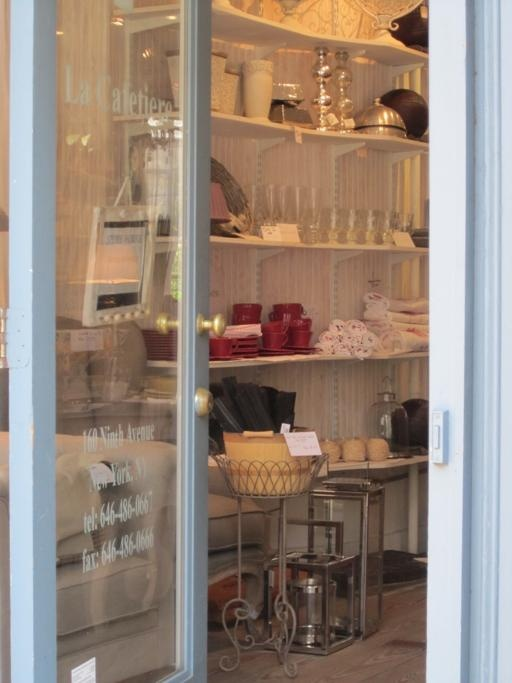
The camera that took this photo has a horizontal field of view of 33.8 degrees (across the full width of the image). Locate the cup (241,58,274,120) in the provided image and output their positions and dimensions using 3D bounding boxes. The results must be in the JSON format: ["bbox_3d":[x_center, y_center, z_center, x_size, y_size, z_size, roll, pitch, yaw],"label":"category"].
[{"bbox_3d":[0.000,-1.003,3.347,0.119,0.265,0.200,1,0,0],"label":"cup"}]

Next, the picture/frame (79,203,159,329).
[{"bbox_3d":[-0.256,-0.141,1.525,0.062,0.219,0.181,2,16,14],"label":"picture/frame"}]

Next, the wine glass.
[{"bbox_3d":[0.345,-0.519,3.639,0.201,0.246,0.981,1,0,39],"label":"wine glass"}]

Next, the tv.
[{"bbox_3d":[-0.272,-0.137,1.483,0.068,0.199,0.211,7,5,16],"label":"tv"}]
